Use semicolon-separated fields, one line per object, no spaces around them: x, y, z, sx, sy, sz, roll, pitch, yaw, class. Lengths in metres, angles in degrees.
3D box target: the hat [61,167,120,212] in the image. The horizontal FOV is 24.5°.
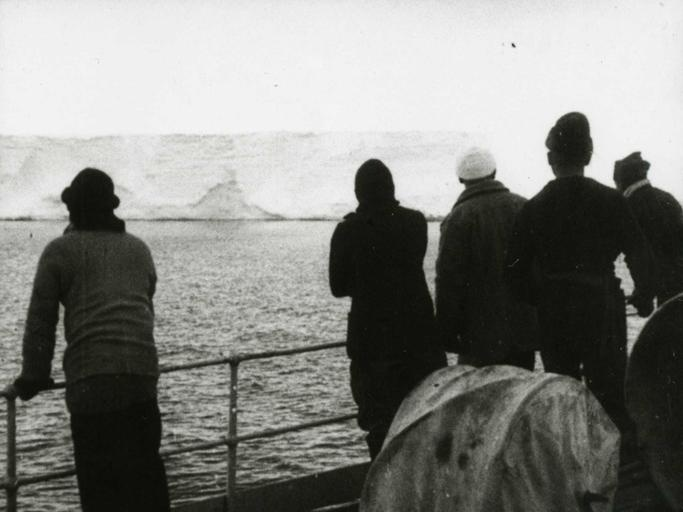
-2.189;-0.569;13.685;0.490;0.329;0.329;-5;8;-13;hat
